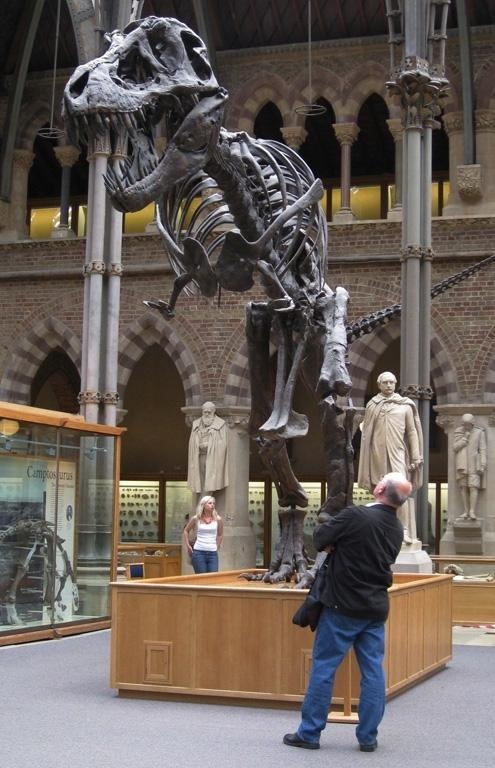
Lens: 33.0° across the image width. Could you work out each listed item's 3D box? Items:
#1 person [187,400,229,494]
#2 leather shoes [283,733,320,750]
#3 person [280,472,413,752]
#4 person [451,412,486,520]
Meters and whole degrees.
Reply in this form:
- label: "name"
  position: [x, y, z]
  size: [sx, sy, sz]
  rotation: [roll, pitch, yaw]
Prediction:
- label: "person"
  position: [-0.722, 1.159, 15.060]
  size: [0.702, 1.651, 0.460]
  rotation: [-1, -7, 4]
- label: "leather shoes"
  position: [0.233, 1.548, 3.669]
  size: [0.143, 0.071, 0.063]
  rotation: [4, -6, 27]
- label: "person"
  position: [0.436, 0.996, 3.649]
  size: [0.566, 1.192, 0.270]
  rotation: [-1, -7, 2]
- label: "person"
  position: [3.722, 1.395, 14.005]
  size: [0.566, 1.765, 0.461]
  rotation: [-2, -7, 11]
